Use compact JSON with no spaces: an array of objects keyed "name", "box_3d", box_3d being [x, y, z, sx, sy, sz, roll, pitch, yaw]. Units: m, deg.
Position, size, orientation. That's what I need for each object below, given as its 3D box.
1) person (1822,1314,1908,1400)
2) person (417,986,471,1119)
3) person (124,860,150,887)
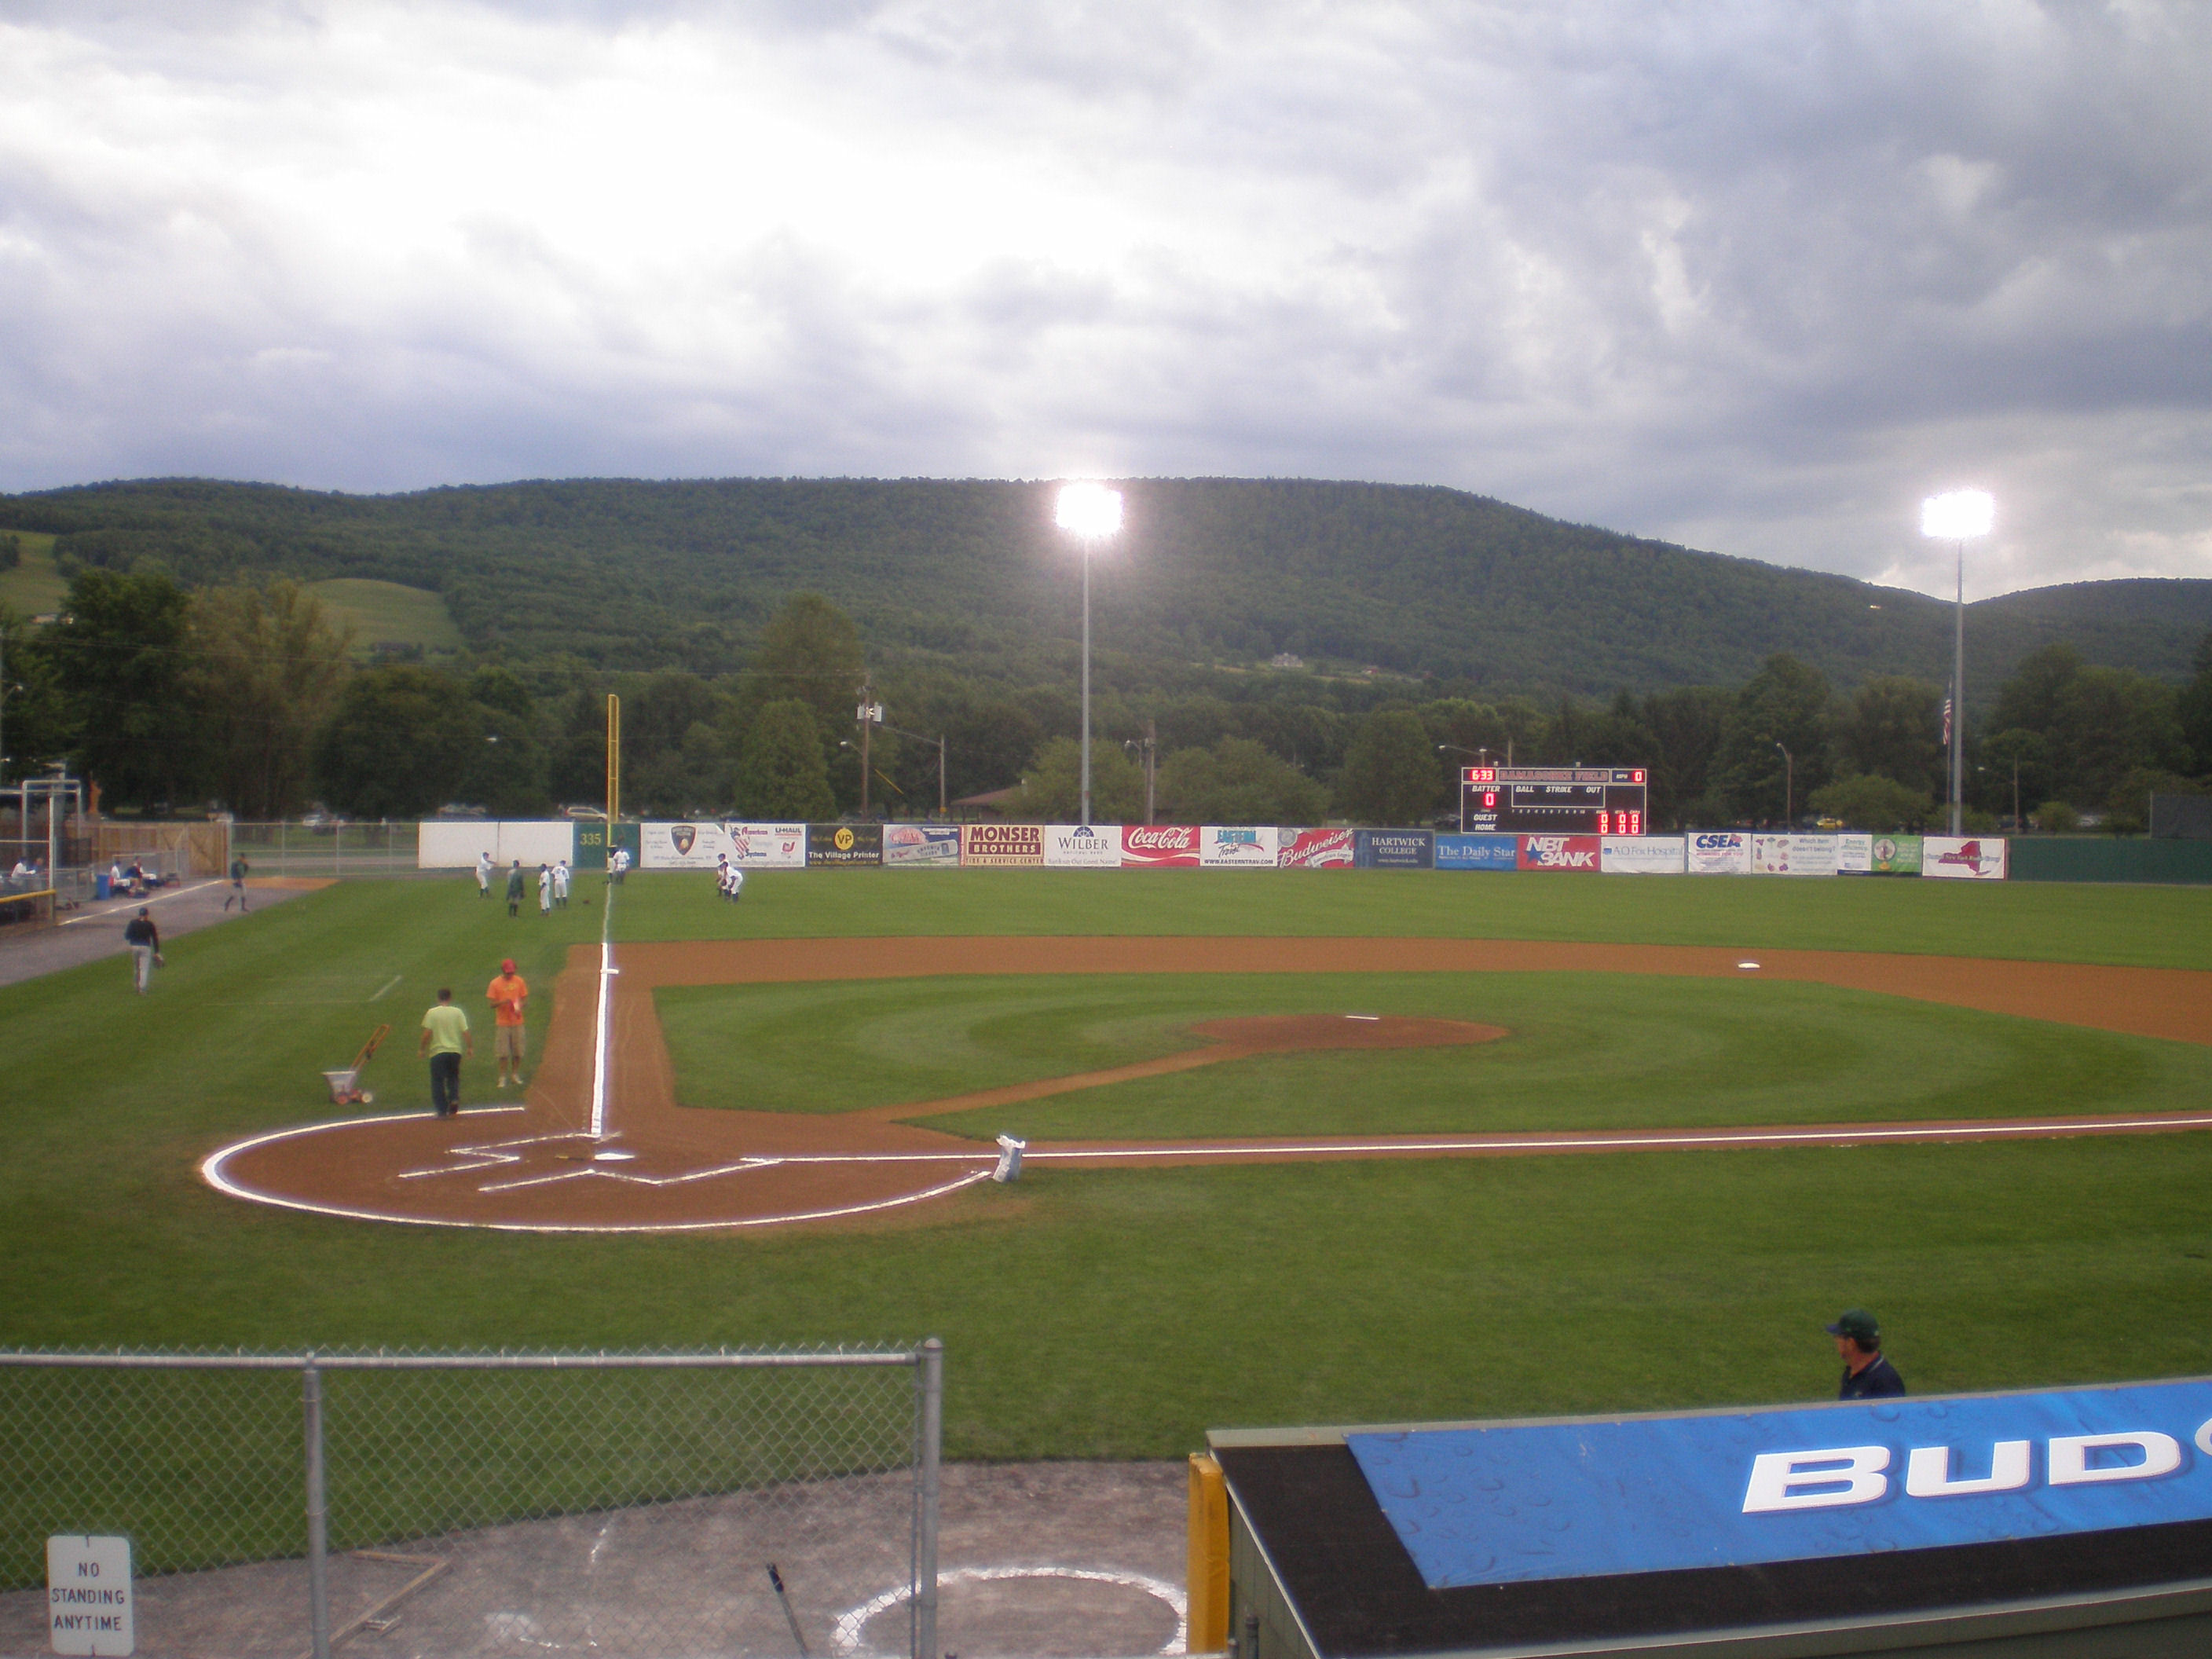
[{"name":"person","box_3d":[6.730,4.706,23.463,0.700,0.853,1.098,-3,3,17]},{"name":"person","box_3d":[-8.440,2.842,33.776,0.444,1.582,1.003,1,4,-15]},{"name":"person","box_3d":[-27.166,1.238,74.161,0.573,0.521,0.973,1,12,-29]}]
